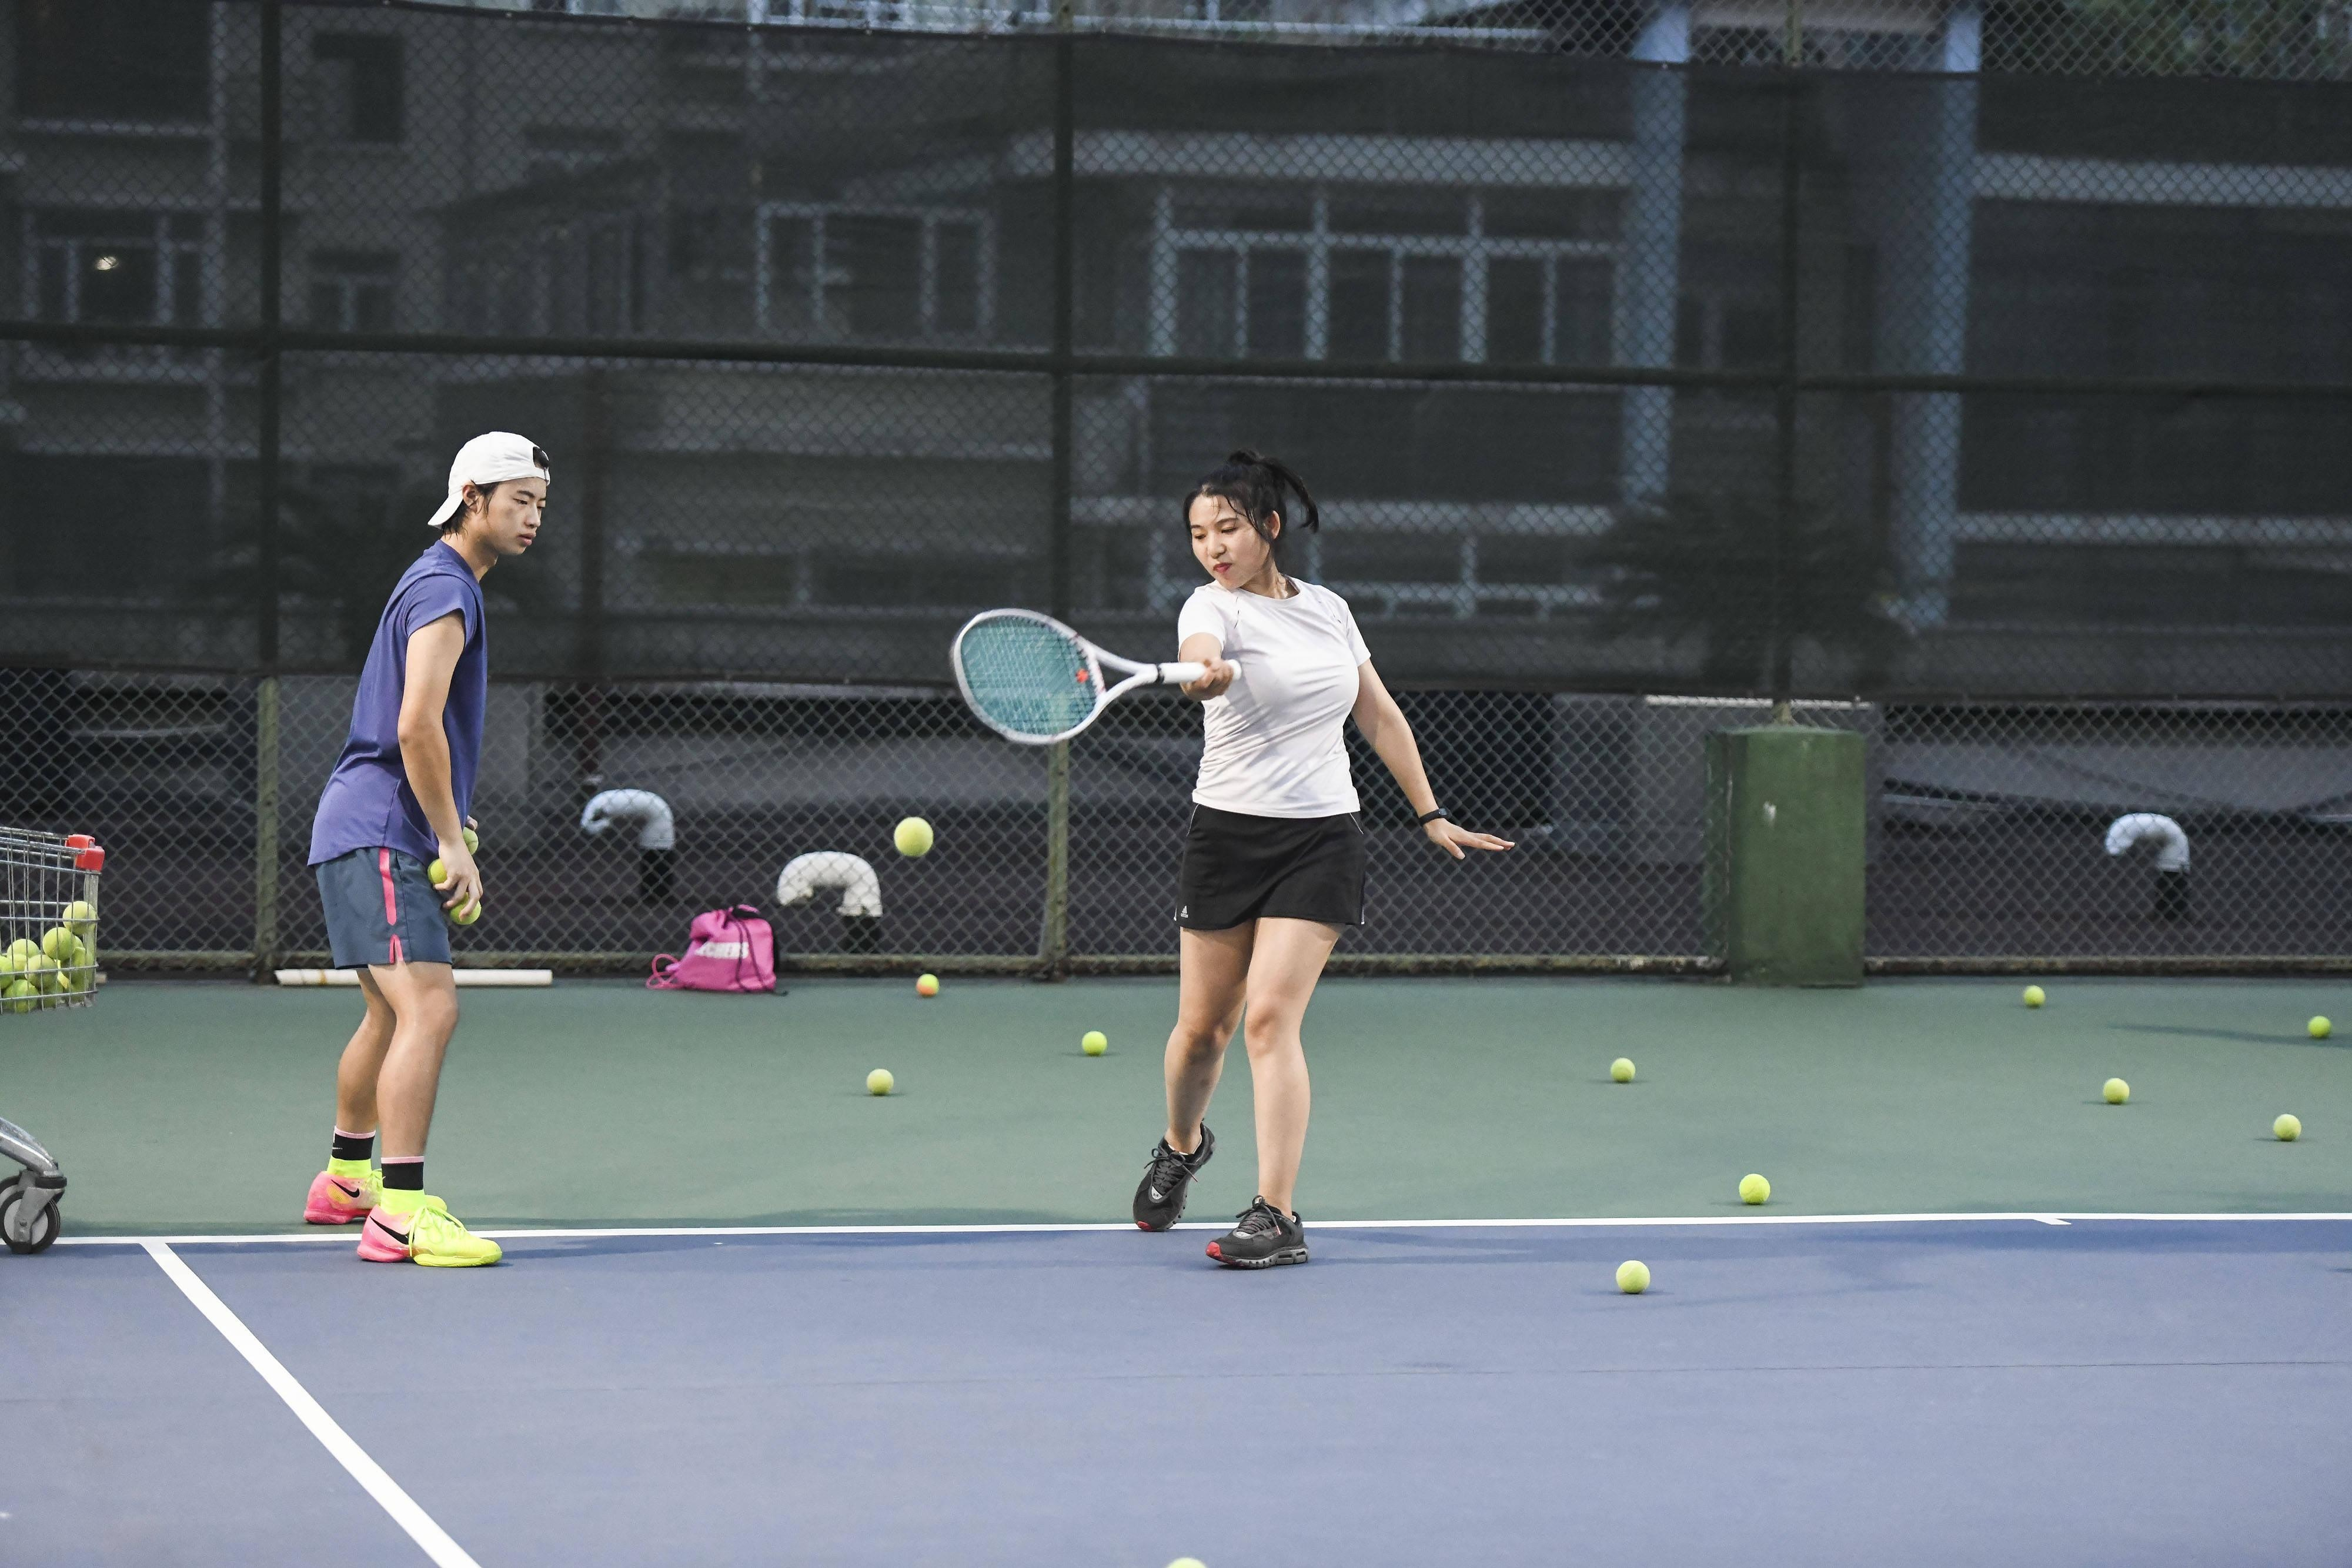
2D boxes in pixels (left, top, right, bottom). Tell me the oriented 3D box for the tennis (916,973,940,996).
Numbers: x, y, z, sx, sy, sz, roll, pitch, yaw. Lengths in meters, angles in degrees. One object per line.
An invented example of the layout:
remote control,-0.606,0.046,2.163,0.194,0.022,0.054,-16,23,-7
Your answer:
tennis,-1.104,0.907,13.054,0.082,0.110,0.089,18,-15,16

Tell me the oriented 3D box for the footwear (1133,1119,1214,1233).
footwear,-0.023,1.247,9.343,0.165,0.429,0.179,18,-5,7

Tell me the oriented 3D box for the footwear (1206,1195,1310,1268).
footwear,0.253,1.373,8.963,0.298,0.202,0.152,3,-4,-29

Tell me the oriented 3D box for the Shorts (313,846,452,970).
Shorts,-2.367,0.369,8.865,0.237,0.362,0.195,-18,-14,28

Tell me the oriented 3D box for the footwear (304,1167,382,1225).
footwear,-2.613,1.299,9.233,0.273,0.148,0.129,-5,6,-31

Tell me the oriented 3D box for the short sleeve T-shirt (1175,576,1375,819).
short sleeve T-shirt,0.291,-0.264,9.008,0.563,0.733,0.351,1,-2,1

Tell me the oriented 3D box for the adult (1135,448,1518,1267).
adult,0.356,0.216,8.935,1.013,2.517,1.509,-4,-8,25

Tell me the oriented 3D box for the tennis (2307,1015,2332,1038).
tennis,4.841,1.046,12.532,0.092,0.128,0.096,6,10,17

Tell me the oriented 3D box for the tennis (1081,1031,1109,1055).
tennis,-0.334,1.053,11.875,0.074,0.072,0.080,1,-1,-3

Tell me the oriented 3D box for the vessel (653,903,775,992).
vessel,-2.035,0.730,12.973,0.462,0.347,0.329,-2,0,10

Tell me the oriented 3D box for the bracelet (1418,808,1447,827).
bracelet,0.819,0.114,9.512,0.058,0.024,0.062,-28,-13,31

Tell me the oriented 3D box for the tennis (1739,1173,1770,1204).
tennis,1.912,1.357,9.766,0.083,0.077,0.090,16,-12,-5

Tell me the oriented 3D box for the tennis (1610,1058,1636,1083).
tennis,1.747,1.144,11.564,0.081,0.081,0.082,46,1,-27

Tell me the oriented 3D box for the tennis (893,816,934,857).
tennis,-1.194,0.244,13.319,0.132,0.127,0.121,22,-13,49

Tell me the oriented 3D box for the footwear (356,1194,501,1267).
footwear,-2.231,1.346,8.882,0.427,0.239,0.189,2,-5,0

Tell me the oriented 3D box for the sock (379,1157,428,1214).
sock,-2.315,1.195,8.838,0.163,0.248,0.139,2,-7,-26

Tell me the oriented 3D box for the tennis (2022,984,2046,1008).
tennis,3.834,0.964,13.244,0.092,0.097,0.339,0,-3,17

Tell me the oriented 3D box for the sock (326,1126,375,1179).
sock,-2.590,1.144,9.251,0.128,0.163,0.147,4,10,3

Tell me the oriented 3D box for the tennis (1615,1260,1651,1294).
tennis,1.347,1.468,8.756,0.077,0.094,0.085,-1,0,10
